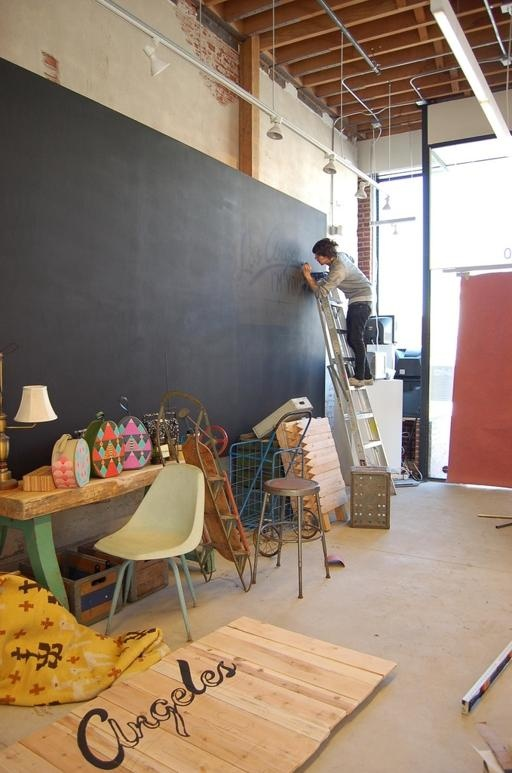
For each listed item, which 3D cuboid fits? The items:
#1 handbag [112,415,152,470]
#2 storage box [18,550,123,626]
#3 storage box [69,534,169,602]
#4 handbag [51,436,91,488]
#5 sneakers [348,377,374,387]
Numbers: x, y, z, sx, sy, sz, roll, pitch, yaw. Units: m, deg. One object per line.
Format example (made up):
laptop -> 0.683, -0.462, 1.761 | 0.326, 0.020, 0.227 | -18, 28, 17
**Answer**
handbag -> -0.647, 0.313, 3.054 | 0.064, 0.334, 0.235 | -8, 0, 33
storage box -> -0.840, 0.948, 2.799 | 0.302, 0.330, 0.426 | -5, 7, -43
storage box -> -0.714, 0.980, 3.095 | 0.382, 0.255, 0.391 | 8, 9, 35
handbag -> -0.805, 0.344, 2.549 | 0.073, 0.218, 0.211 | -2, 4, 9
sneakers -> 1.052, -0.033, 5.721 | 0.266, 0.127, 0.099 | 3, -1, -18
